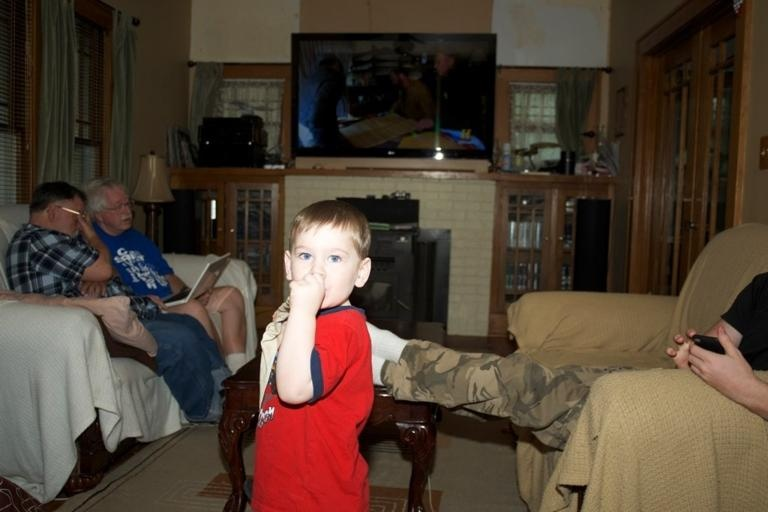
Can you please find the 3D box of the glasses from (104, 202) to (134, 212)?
[{"bbox_3d":[-1.678,-0.316,3.959,0.138,0.046,0.140,-1,9,17],"label":"glasses"}]

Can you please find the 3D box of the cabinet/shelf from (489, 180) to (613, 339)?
[{"bbox_3d":[1.561,0.015,5.906,0.963,1.489,0.359,2,18,13],"label":"cabinet/shelf"}]

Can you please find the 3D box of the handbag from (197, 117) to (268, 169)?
[{"bbox_3d":[-1.428,-1.100,6.038,0.645,0.580,0.471,3,17,1],"label":"handbag"}]

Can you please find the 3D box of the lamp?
[{"bbox_3d":[-1.998,-0.461,5.417,0.278,1.003,0.286,28,34,26],"label":"lamp"}]

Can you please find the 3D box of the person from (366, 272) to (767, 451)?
[{"bbox_3d":[0.868,0.532,2.991,1.347,0.887,0.850,7,6,12],"label":"person"}]

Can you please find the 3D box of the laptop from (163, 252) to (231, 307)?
[{"bbox_3d":[-1.155,0.156,3.912,0.314,0.226,0.361,9,22,17],"label":"laptop"}]
